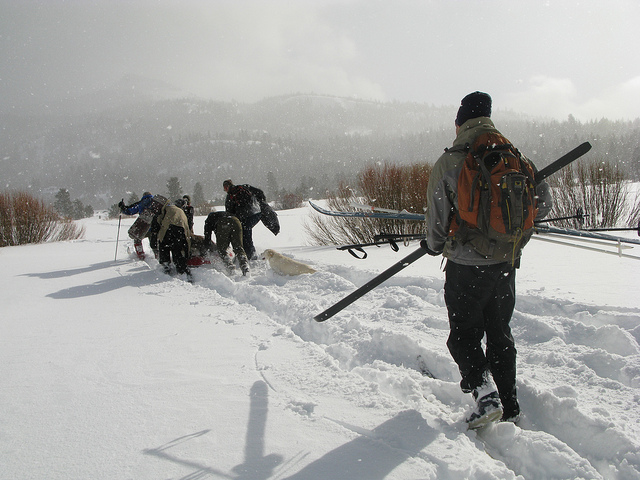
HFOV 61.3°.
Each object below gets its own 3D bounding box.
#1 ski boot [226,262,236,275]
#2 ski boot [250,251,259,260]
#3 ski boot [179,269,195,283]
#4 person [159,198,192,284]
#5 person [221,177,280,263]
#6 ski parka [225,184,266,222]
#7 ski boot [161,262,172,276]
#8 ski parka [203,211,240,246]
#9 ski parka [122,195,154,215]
[{"bbox_3d":[-1.620,0.528,9.819,0.170,0.132,0.174,0,1,-42],"label":"ski boot"},{"bbox_3d":[-1.331,0.315,11.266,0.157,0.138,0.349,4,10,21],"label":"ski boot"},{"bbox_3d":[-2.378,0.628,9.654,0.249,0.189,0.643,-1,9,-14],"label":"ski boot"},{"bbox_3d":[-2.675,-0.011,9.951,0.564,1.234,0.930,-2,9,-17],"label":"person"},{"bbox_3d":[-1.592,-0.400,11.286,1.074,1.907,0.760,-17,-5,2],"label":"person"},{"bbox_3d":[-1.586,-0.823,11.193,0.597,0.886,0.572,-1,10,-5],"label":"ski parka"},{"bbox_3d":[-2.819,0.549,9.985,0.205,0.204,0.065,47,3,41],"label":"ski boot"},{"bbox_3d":[-2.039,-0.278,10.379,0.471,0.714,0.274,3,10,-9],"label":"ski parka"},{"bbox_3d":[-3.969,-0.763,11.792,0.690,0.423,0.497,-4,10,-29],"label":"ski parka"}]
